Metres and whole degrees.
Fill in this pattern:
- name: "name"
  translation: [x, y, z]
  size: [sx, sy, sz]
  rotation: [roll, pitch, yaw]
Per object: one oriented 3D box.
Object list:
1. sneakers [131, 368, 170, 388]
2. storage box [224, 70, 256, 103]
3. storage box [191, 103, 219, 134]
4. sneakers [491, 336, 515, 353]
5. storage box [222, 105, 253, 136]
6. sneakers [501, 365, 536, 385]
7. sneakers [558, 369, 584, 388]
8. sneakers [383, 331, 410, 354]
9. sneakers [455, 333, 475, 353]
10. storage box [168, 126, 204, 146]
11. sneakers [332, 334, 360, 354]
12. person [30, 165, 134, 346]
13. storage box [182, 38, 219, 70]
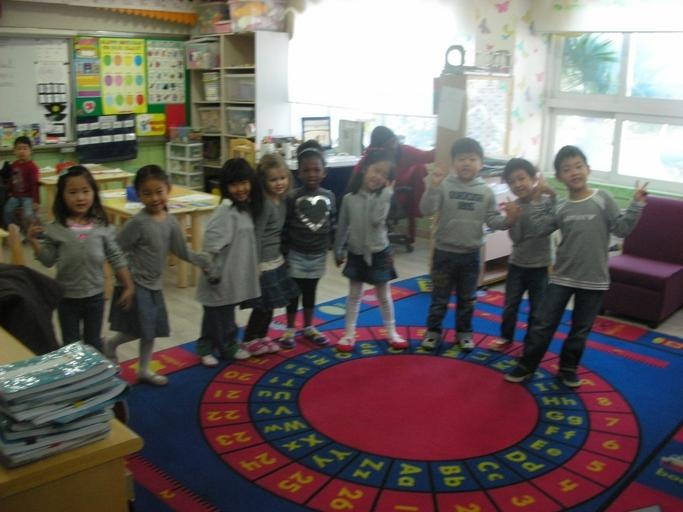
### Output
- name: "sneakers"
  translation: [-1.103, 0.713, 2.915]
  size: [0.173, 0.058, 0.081]
  rotation: [0, 17, 0]
- name: "storage box"
  translation: [-1.377, -2.296, 6.872]
  size: [0.538, 0.276, 0.493]
  rotation: [-3, 14, -12]
- name: "storage box"
  translation: [-2.012, -2.043, 7.490]
  size: [0.453, 0.356, 0.603]
  rotation: [0, 12, -3]
- name: "sneakers"
  translation: [1.076, 0.599, 3.389]
  size: [0.180, 0.066, 0.067]
  rotation: [-5, 7, -35]
- name: "storage box"
  translation: [-1.447, -1.895, 7.032]
  size: [0.594, 0.363, 0.420]
  rotation: [-10, 18, -35]
- name: "sneakers"
  translation: [1.037, 0.702, 2.968]
  size: [0.190, 0.068, 0.087]
  rotation: [-2, 8, -21]
- name: "sneakers"
  translation: [1.331, 0.719, 2.952]
  size: [0.072, 0.057, 0.142]
  rotation: [-2, 7, -17]
- name: "sneakers"
  translation: [0.385, 0.572, 3.356]
  size: [0.096, 0.054, 0.162]
  rotation: [-5, 10, -18]
- name: "sneakers"
  translation: [0.820, 0.574, 3.358]
  size: [0.071, 0.065, 0.165]
  rotation: [-2, 4, -10]
- name: "storage box"
  translation: [-2.284, -1.758, 7.392]
  size: [0.371, 0.198, 0.366]
  rotation: [6, 10, 37]
- name: "sneakers"
  translation: [0.027, 0.592, 3.353]
  size: [0.114, 0.091, 0.239]
  rotation: [0, -6, 16]
- name: "person"
  translation: [-1.313, 0.027, 2.579]
  size: [0.426, 0.949, 0.259]
  rotation: [-7, 21, -23]
- name: "storage box"
  translation: [-1.955, -2.852, 7.146]
  size: [0.558, 0.337, 0.414]
  rotation: [1, 13, 8]
